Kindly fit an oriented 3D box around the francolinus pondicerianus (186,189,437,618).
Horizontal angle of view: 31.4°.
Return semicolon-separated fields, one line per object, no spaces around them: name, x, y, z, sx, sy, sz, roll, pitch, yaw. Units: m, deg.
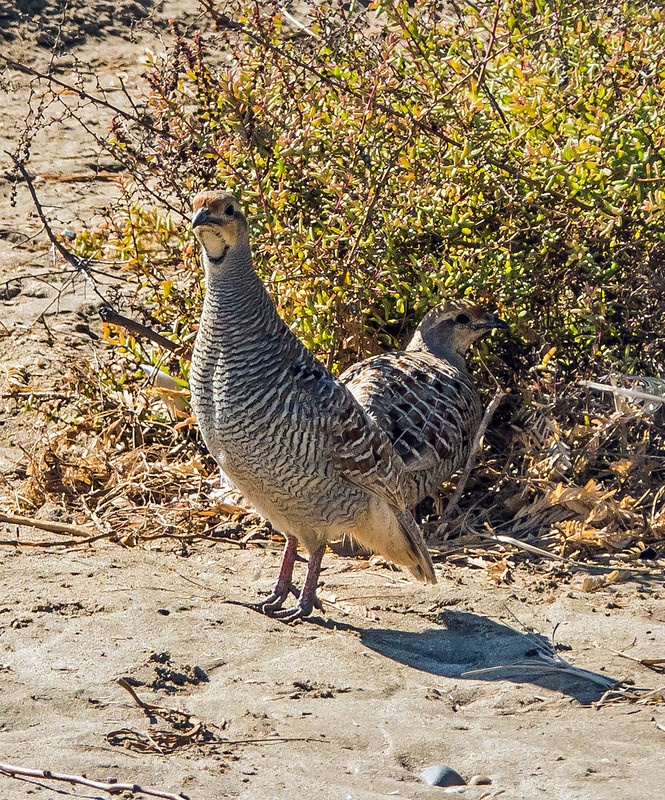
francolinus pondicerianus;-0.117;0.048;4.694;1.141;1.374;0.437;8;3;-12
